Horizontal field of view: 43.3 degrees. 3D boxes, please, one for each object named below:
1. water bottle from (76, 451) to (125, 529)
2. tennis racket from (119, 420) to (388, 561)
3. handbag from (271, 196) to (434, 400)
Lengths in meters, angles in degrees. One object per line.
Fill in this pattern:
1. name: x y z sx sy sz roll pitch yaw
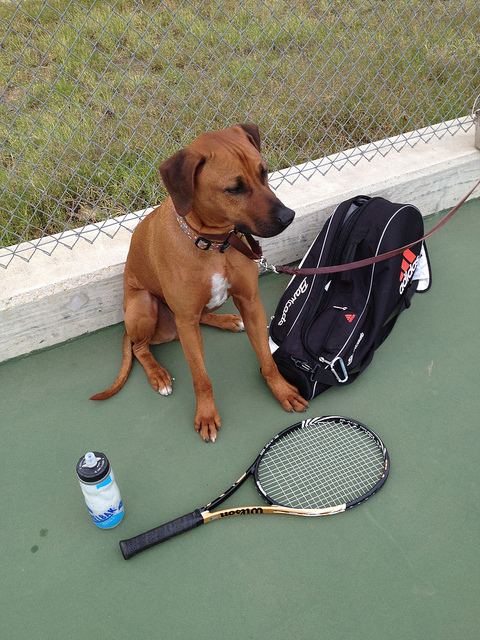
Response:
1. water bottle: -0.612 0.728 2.573 0.168 0.352 0.146 -8 20 -26
2. tennis racket: 0.203 0.774 2.687 1.094 0.361 0.516 -18 32 -35
3. handbag: 0.747 -0.090 3.585 0.864 1.150 0.449 28 -2 35
